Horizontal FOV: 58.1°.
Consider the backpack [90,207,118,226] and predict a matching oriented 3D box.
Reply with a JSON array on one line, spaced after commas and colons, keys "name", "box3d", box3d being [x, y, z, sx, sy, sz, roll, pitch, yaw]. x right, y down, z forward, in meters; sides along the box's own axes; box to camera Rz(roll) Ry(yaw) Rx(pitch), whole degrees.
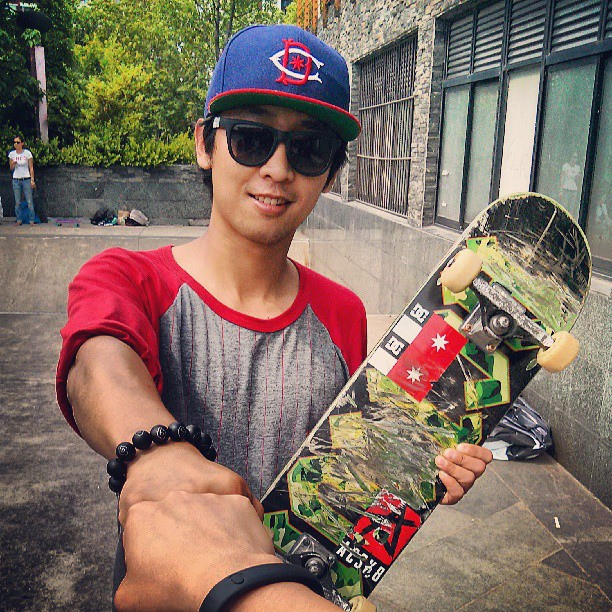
[{"name": "backpack", "box3d": [-4.996, -2.202, 13.505, 0.540, 0.353, 0.441, -5, 14, -27]}]

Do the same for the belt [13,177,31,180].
[{"name": "belt", "box3d": [-6.344, -2.855, 12.295, 0.341, 0.062, 0.093, -6, 15, -31]}]

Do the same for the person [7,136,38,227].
[{"name": "person", "box3d": [-6.356, -2.796, 12.377, 0.729, 1.942, 0.553, 11, 15, 43]}]
